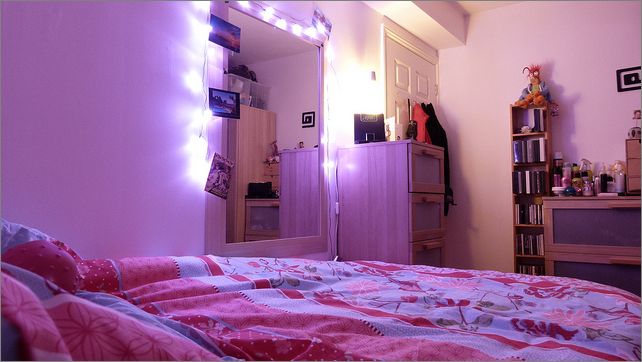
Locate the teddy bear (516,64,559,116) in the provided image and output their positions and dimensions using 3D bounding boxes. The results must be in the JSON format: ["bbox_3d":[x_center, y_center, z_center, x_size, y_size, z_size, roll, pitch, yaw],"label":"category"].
[{"bbox_3d":[2.499,-1.080,4.442,0.471,0.549,0.321,4,-5,19],"label":"teddy bear"}]

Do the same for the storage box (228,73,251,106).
[{"bbox_3d":[-0.641,-0.721,3.050,0.196,0.236,0.052,-6,12,-42],"label":"storage box"}]

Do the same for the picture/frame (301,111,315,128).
[{"bbox_3d":[-0.117,-0.567,3.528,0.036,0.140,0.149,9,12,42],"label":"picture/frame"}]

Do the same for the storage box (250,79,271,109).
[{"bbox_3d":[-0.475,-0.726,3.240,0.225,0.278,0.150,-12,20,-44],"label":"storage box"}]

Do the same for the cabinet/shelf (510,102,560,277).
[{"bbox_3d":[2.364,0.071,4.338,0.370,1.783,0.208,-1,3,33],"label":"cabinet/shelf"}]

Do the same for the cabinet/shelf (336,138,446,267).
[{"bbox_3d":[0.698,0.256,3.886,0.961,1.254,0.920,4,6,22],"label":"cabinet/shelf"}]
